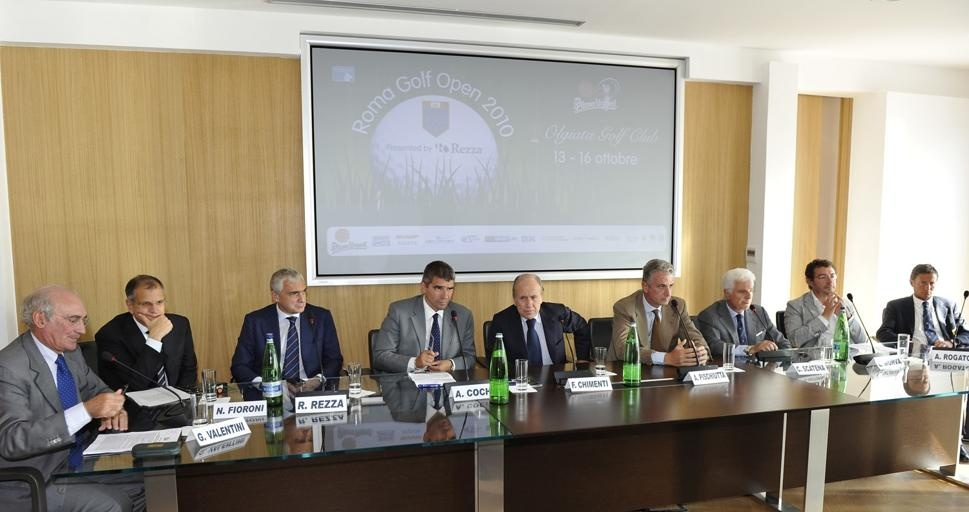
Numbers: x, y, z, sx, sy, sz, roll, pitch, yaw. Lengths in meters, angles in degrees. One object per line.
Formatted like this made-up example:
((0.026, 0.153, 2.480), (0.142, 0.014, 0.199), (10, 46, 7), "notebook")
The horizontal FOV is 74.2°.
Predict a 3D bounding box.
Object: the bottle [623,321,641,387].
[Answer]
((1.249, 0.823, 5.465), (0.160, 0.523, 0.214), (-2, 4, 12), "bottle")

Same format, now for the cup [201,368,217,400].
((-2.182, 1.025, 5.085), (0.095, 0.234, 0.057), (-6, 5, -29), "cup")

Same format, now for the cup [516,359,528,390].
((0.317, 0.989, 5.416), (0.117, 0.243, 0.225), (-3, 4, 1), "cup")

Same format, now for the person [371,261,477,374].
((-0.591, 0.575, 6.022), (0.966, 1.012, 0.641), (-3, 4, -5), "person")

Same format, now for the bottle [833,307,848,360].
((3.295, 0.727, 5.925), (0.131, 0.452, 0.275), (-1, 5, 28), "bottle")

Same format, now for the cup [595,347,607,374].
((0.999, 0.893, 5.528), (0.082, 0.228, 0.175), (-3, 4, 10), "cup")

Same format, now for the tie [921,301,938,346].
((4.728, 0.697, 6.796), (0.132, 0.405, 0.269), (0, 5, 35), "tie")

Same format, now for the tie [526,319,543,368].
((0.483, 0.825, 6.179), (0.168, 0.421, 0.117), (-5, 4, -16), "tie")

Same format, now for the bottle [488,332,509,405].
((0.113, 0.901, 5.250), (0.164, 0.560, 0.266), (-3, 4, 0), "bottle")

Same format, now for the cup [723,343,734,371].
((2.149, 0.887, 5.649), (0.077, 0.222, 0.060), (-2, 5, 16), "cup")

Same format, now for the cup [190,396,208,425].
((-2.180, 1.166, 4.963), (0.102, 0.222, 0.221), (-3, 3, 1), "cup")

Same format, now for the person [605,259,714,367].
((1.657, 0.566, 6.210), (0.850, 0.896, 1.059), (-1, 0, -18), "person")
